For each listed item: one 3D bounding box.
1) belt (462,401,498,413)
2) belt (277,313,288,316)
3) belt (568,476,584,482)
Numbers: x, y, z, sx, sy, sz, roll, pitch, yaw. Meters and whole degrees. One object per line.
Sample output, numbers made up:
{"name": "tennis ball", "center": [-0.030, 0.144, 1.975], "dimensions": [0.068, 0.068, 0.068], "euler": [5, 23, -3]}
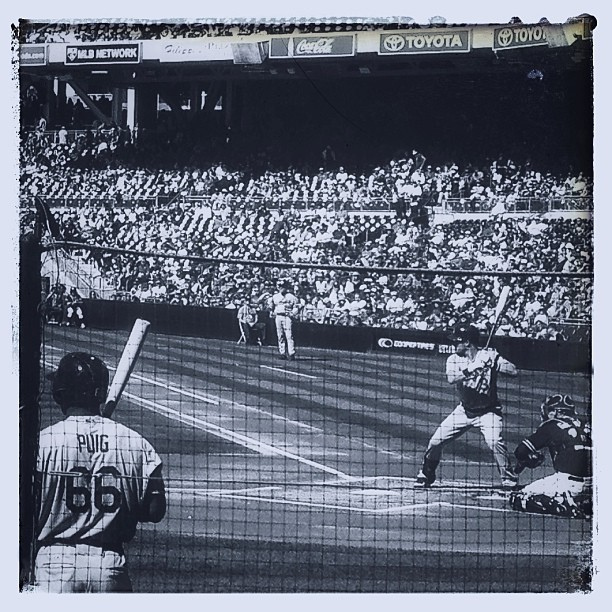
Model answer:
{"name": "belt", "center": [0.850, 0.494, 9.825], "dimensions": [0.174, 0.065, 0.005], "euler": [4, 5, 1]}
{"name": "belt", "center": [-0.133, 0.036, 9.887], "dimensions": [0.048, 0.012, 0.002], "euler": [4, 5, 0]}
{"name": "belt", "center": [1.315, 0.843, 9.747], "dimensions": [0.075, 0.023, 0.016], "euler": [4, 5, 0]}
